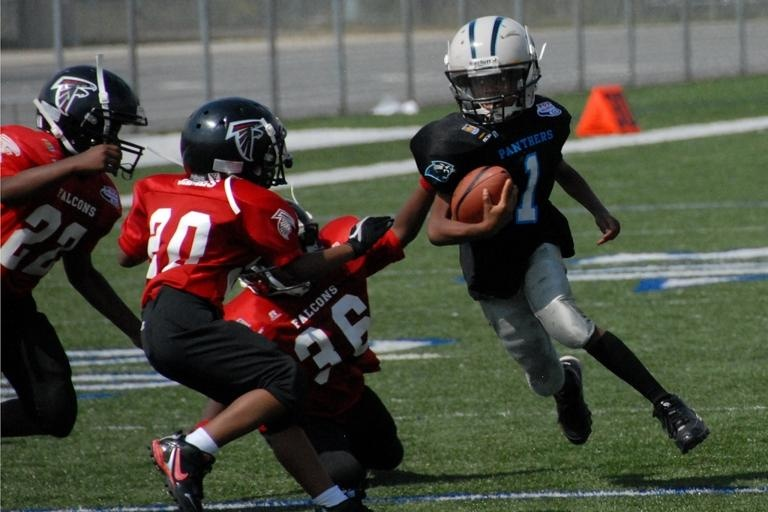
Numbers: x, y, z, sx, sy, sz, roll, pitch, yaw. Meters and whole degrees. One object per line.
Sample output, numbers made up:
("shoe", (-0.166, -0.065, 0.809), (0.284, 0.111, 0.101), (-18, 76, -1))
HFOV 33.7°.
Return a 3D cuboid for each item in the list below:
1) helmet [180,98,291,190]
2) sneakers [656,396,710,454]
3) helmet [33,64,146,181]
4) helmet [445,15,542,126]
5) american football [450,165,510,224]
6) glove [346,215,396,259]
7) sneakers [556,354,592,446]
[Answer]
("helmet", (-0.746, -0.573, 6.147), (0.609, 0.417, 0.434), (-3, 14, -30))
("sneakers", (1.417, 0.787, 6.124), (0.158, 0.157, 0.349), (-42, 21, 4))
("helmet", (-1.457, -0.718, 6.423), (0.639, 0.536, 0.452), (8, 4, -6))
("helmet", (0.579, -0.972, 6.385), (0.568, 0.437, 0.617), (-4, 19, 10))
("american football", (0.436, -0.298, 6.081), (0.299, 0.175, 0.230), (-38, -11, -16))
("glove", (-0.070, -0.101, 6.012), (0.245, 0.129, 0.075), (-38, -3, -8))
("sneakers", (1.008, 0.739, 6.374), (0.168, 0.449, 0.204), (-9, 7, 21))
